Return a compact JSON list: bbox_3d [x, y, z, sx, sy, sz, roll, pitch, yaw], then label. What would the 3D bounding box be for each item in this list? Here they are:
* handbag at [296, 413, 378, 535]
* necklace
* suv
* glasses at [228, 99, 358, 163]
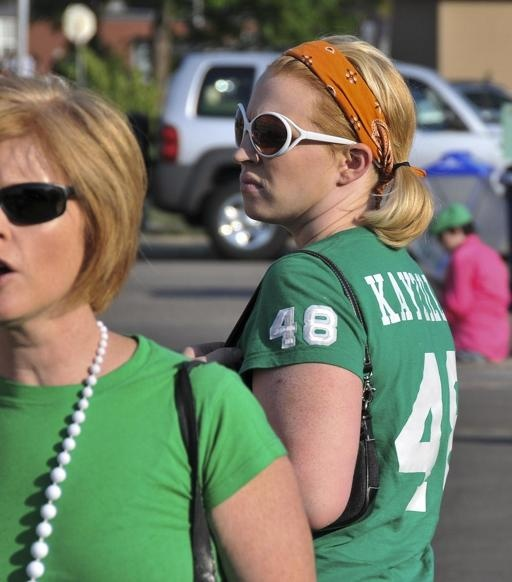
[{"bbox_3d":[0.120,0.374,2.244,0.186,0.220,0.260,-6,-8,40],"label":"handbag"},{"bbox_3d":[-0.338,0.299,1.906,0.026,0.528,0.028,24,-28,-7],"label":"necklace"},{"bbox_3d":[0.730,-1.422,10.619,3.810,1.508,1.768,-2,6,-3],"label":"suv"},{"bbox_3d":[0.065,-0.376,2.577,0.218,0.063,0.210,4,4,-27],"label":"glasses"}]
